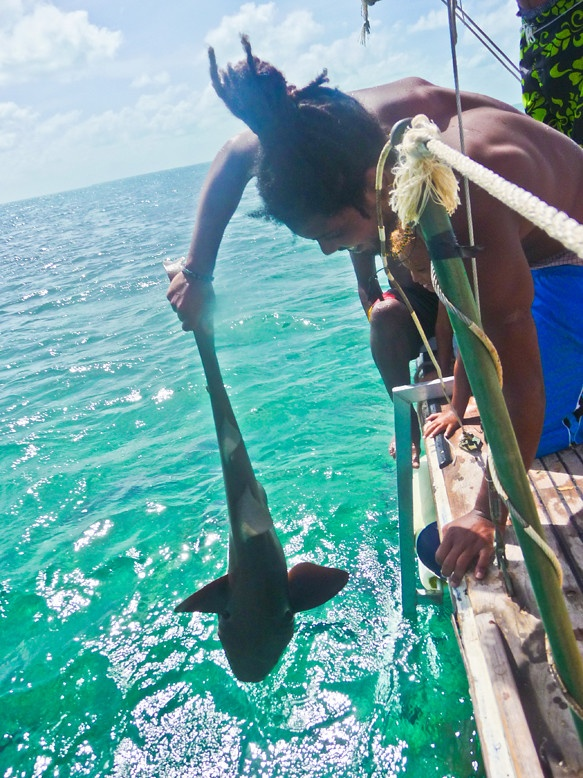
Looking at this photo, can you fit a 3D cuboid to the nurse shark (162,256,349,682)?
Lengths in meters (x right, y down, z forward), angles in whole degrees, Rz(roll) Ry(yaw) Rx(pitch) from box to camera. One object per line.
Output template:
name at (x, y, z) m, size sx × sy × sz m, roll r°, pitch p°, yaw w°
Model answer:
nurse shark at (-0.262, 0.427, 2.894) m, size 0.733 × 1.815 × 0.329 m, roll -11°, pitch -18°, yaw -8°
